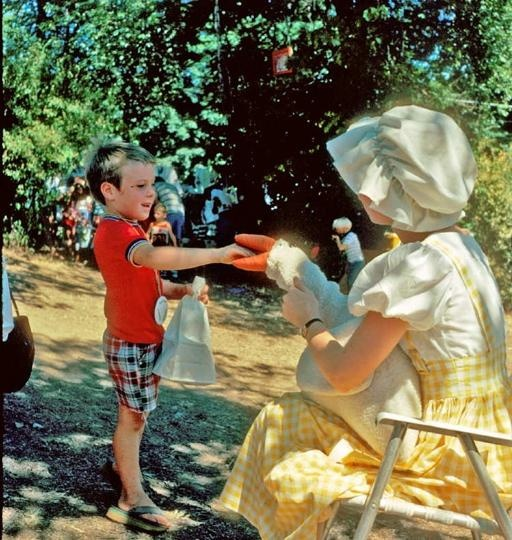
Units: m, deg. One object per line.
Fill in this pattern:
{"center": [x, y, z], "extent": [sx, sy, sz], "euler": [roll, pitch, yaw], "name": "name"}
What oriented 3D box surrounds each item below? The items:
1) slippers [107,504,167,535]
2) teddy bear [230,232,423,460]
{"center": [-0.487, 1.003, 2.674], "extent": [0.274, 0.083, 0.096], "euler": [10, -7, 3], "name": "slippers"}
{"center": [0.166, 0.166, 1.723], "extent": [0.282, 0.658, 0.247], "euler": [-24, 16, -3], "name": "teddy bear"}
